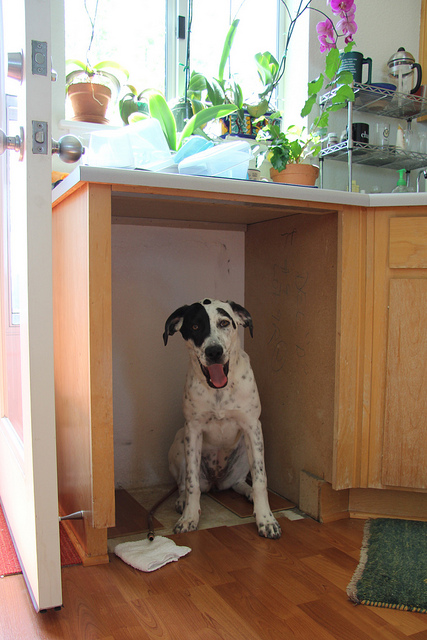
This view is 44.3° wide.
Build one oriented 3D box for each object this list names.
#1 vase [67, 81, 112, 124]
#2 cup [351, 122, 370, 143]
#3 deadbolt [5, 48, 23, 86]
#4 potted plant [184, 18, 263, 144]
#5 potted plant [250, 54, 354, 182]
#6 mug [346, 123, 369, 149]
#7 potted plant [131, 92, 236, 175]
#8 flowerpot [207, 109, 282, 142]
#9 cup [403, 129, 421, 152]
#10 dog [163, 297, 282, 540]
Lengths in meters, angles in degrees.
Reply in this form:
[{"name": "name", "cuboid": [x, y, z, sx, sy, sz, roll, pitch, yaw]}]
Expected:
[{"name": "vase", "cuboid": [-0.462, -0.783, 1.925, 0.143, 0.111, 0.147, 1, 8, 9]}, {"name": "cup", "cuboid": [0.665, -0.851, 2.370, 0.074, 0.084, 0.062, -1, 12, 5]}, {"name": "deadbolt", "cuboid": [-0.350, -0.446, 0.925, 0.026, 0.057, 0.072, -7, 13, -22]}, {"name": "potted plant", "cuboid": [0.020, -0.925, 2.088, 0.243, 0.399, 0.320, 28, 54, 24]}, {"name": "potted plant", "cuboid": [0.272, -0.617, 1.783, 0.295, 0.325, 0.255, -16, 16, -34]}, {"name": "mug", "cuboid": [0.645, -0.826, 2.343, 0.097, 0.123, 0.276, 2, 13, 16]}, {"name": "potted plant", "cuboid": [-0.073, -0.600, 1.668, 0.363, 0.284, 0.495, -4, 12, -8]}, {"name": "flowerpot", "cuboid": [0.171, -0.845, 2.269, 0.372, 0.134, 0.156, -8, 14, -26]}, {"name": "cup", "cuboid": [0.967, -0.882, 2.551, 0.080, 0.124, 0.350, 3, 13, 21]}, {"name": "dog", "cuboid": [0.021, 0.304, 1.611, 0.315, 0.730, 0.444, -3, 12, -5]}]
